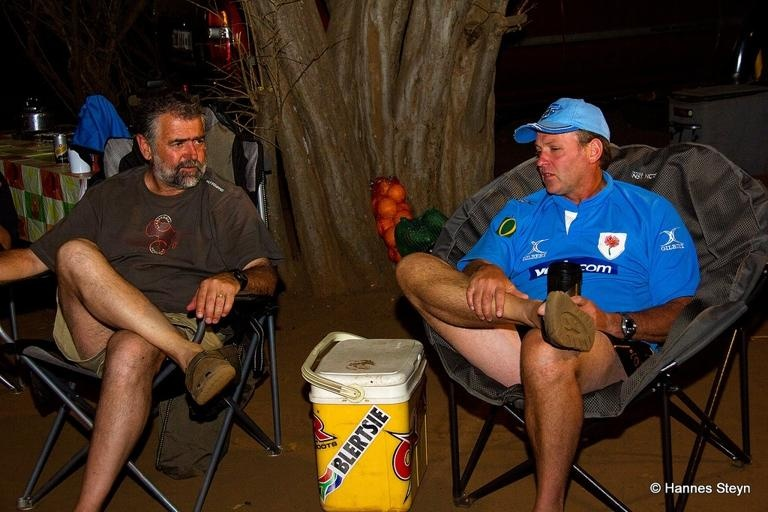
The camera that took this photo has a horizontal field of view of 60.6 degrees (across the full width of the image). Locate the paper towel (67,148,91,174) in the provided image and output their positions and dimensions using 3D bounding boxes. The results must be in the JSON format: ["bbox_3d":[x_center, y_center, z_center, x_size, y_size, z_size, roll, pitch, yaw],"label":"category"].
[{"bbox_3d":[-2.274,-0.702,4.870,0.204,0.186,0.145,2,8,-1],"label":"paper towel"}]

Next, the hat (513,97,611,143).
[{"bbox_3d":[0.989,-0.720,3.558,0.540,0.251,0.332,9,-1,-17],"label":"hat"}]

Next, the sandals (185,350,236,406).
[{"bbox_3d":[-0.840,0.570,3.153,0.223,0.214,0.191,-8,16,-19],"label":"sandals"}]
